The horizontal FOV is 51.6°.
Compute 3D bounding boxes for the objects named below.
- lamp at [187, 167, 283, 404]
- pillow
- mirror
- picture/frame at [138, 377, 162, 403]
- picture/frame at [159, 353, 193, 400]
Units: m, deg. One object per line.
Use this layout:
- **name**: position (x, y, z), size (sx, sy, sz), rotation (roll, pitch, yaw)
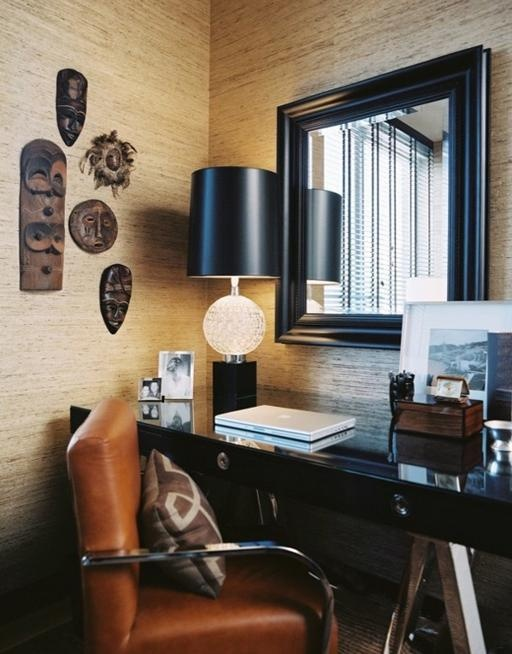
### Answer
- **lamp**: position (-0.074, -0.126, 1.880), size (0.334, 0.835, 0.312), rotation (-1, -4, 2)
- **pillow**: position (-0.173, 0.471, 1.263), size (0.183, 0.223, 0.336), rotation (2, 6, -12)
- **mirror**: position (0.374, -0.397, 1.785), size (0.842, 0.931, 0.081), rotation (-5, -6, 42)
- **picture/frame**: position (-0.384, 0.232, 1.918), size (0.089, 0.089, 0.012), rotation (3, -2, 1)
- **picture/frame**: position (-0.295, 0.187, 1.953), size (0.176, 0.222, 0.016), rotation (-1, -3, 4)
